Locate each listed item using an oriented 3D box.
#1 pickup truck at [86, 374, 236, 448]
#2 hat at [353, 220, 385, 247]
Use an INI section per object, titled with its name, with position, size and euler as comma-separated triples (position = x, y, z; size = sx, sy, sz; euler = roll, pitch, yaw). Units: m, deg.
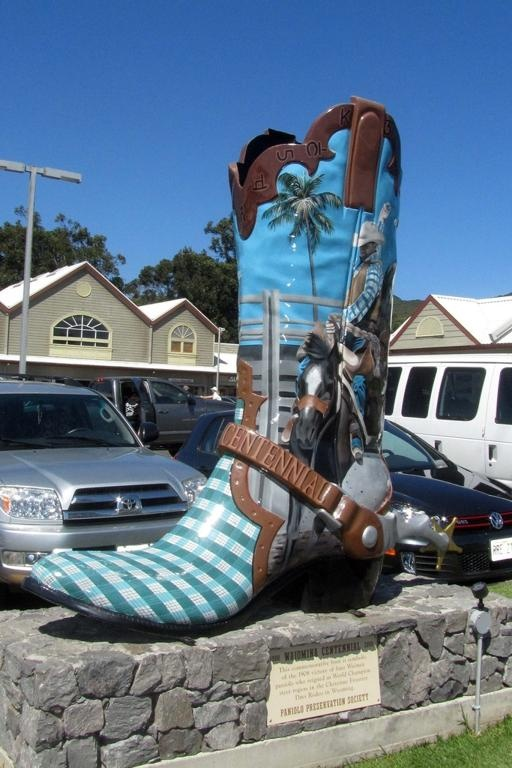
[pickup truck]
position = -2.198, 0.698, 14.377
size = 3.190, 1.716, 1.793
euler = -3, 3, -30
[hat]
position = 0.456, -0.598, 2.370
size = 0.090, 0.058, 0.118
euler = -2, 36, -4
